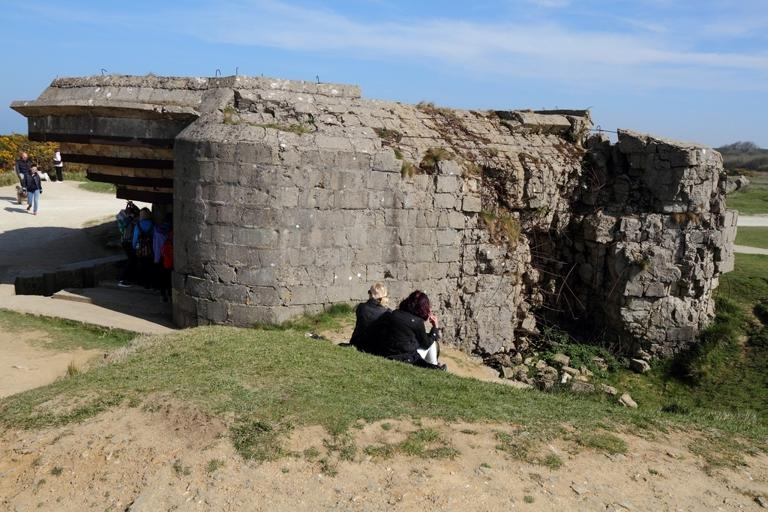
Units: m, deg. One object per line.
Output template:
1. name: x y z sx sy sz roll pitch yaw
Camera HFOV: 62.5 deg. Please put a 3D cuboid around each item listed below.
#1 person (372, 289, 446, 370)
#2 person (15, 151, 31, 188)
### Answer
1. person: 0.518 1.242 10.816 1.183 1.330 0.898 5 6 -42
2. person: -11.927 -2.875 20.987 0.413 1.206 2.000 -2 14 -30
